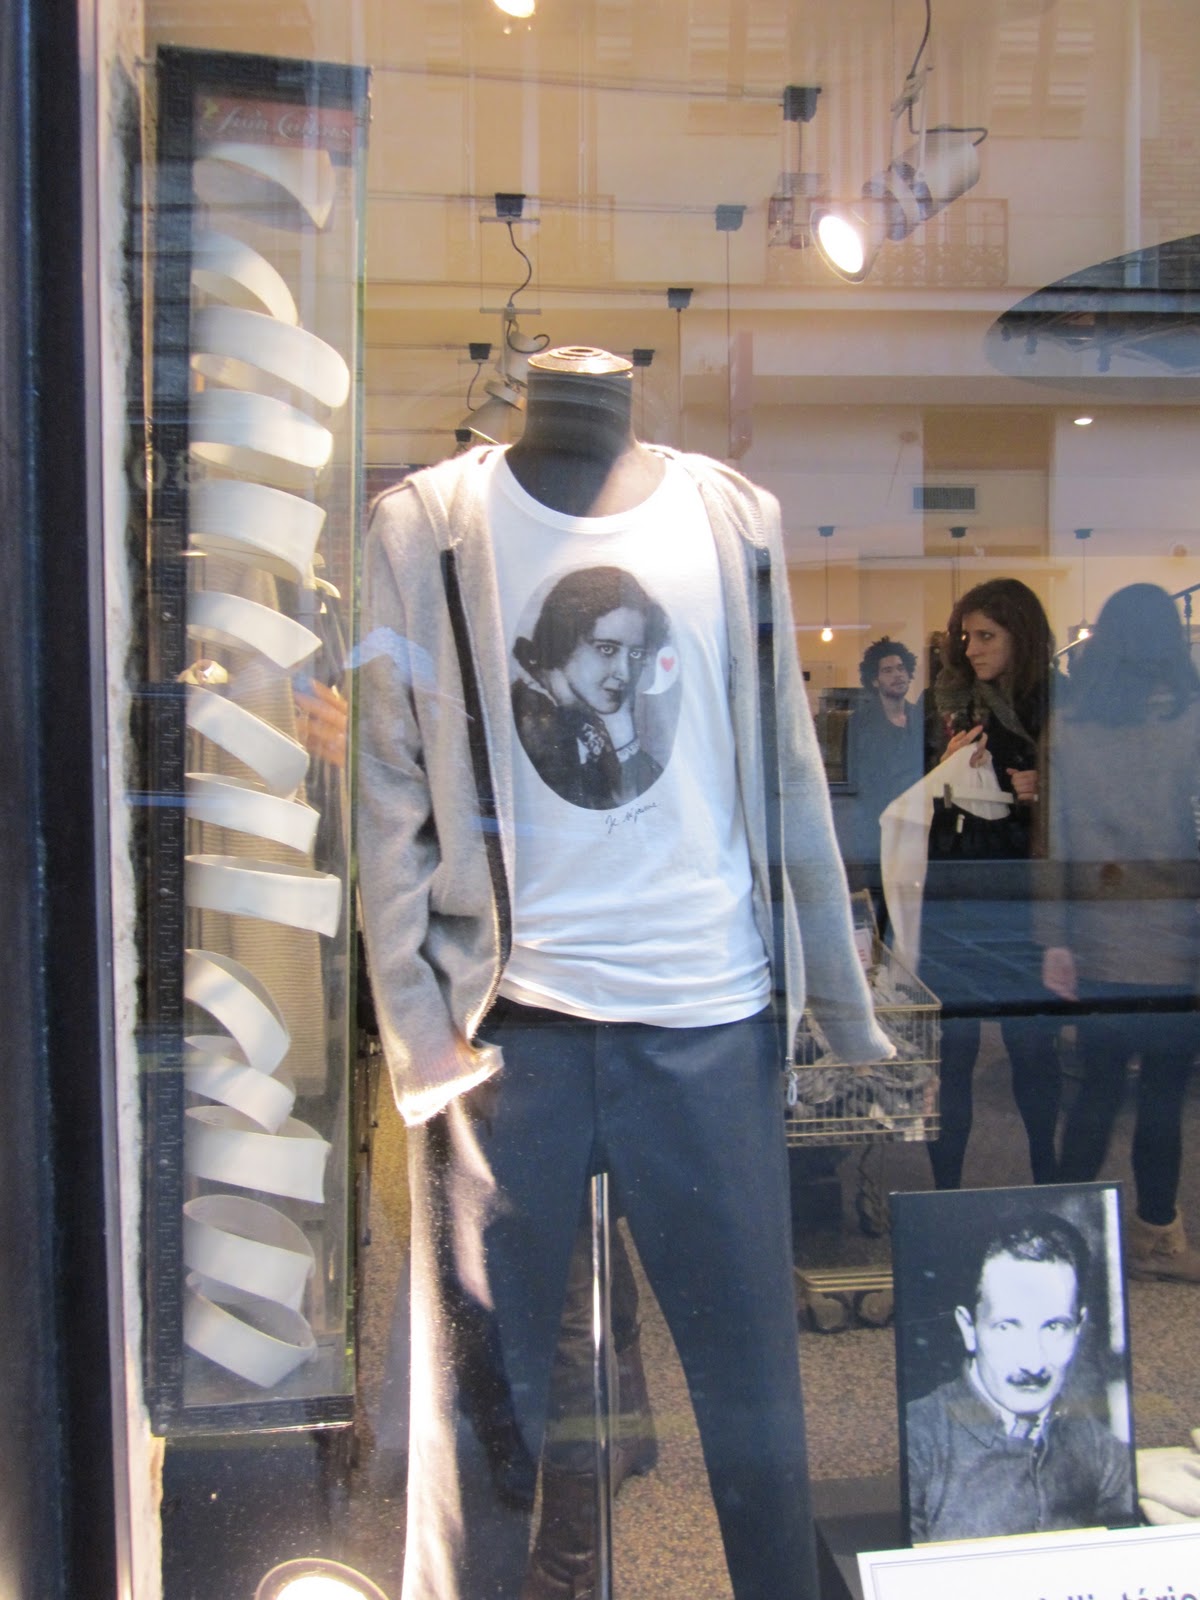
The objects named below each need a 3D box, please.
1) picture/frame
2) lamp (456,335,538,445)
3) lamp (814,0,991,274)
[{"bbox_3d":[0.362,0.513,2.124,0.264,0.392,0.032,2,-14,-11],"label":"picture/frame"},{"bbox_3d":[-0.080,-0.328,1.951,0.045,0.086,0.064,28,24,28],"label":"lamp"},{"bbox_3d":[0.259,-0.588,2.150,0.091,0.242,0.141,1,8,31],"label":"lamp"}]
